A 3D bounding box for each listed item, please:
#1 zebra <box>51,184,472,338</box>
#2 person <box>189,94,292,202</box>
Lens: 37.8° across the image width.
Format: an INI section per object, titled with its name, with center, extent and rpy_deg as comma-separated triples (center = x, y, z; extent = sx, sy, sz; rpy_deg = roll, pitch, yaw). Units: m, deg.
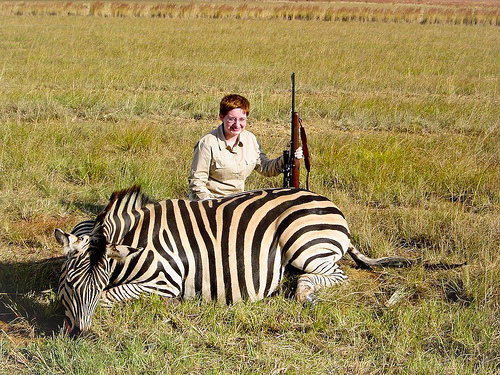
[zebra]
center = -0.463, 0.798, 10.180
extent = 4.070, 1.930, 1.880
rpy_deg = -6, 2, -12
[person]
center = -0.204, -0.279, 10.680
extent = 1.205, 2.070, 1.041
rpy_deg = -4, 25, -15
